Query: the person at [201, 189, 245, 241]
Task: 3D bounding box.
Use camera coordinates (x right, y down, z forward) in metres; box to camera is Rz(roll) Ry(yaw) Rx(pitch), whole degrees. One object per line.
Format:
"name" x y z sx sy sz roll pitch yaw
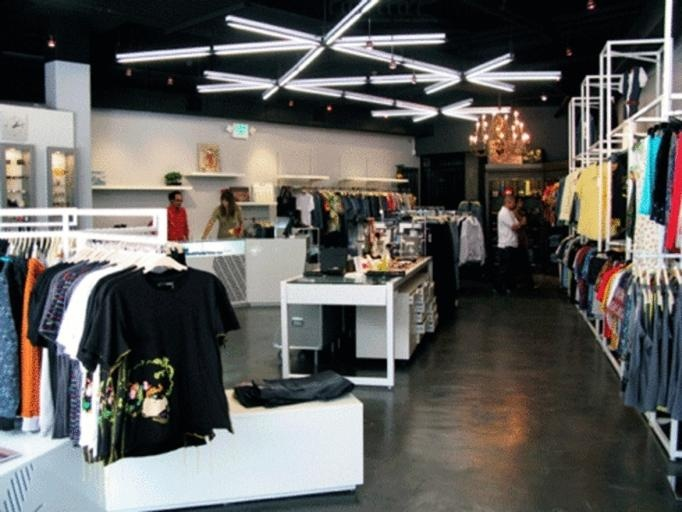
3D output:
"person" -2.079 -0.755 10.656 0.659 0.890 0.567 0 7 3

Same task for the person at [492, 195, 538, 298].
"person" 3.463 -0.291 11.444 0.646 1.845 1.459 2 8 21
